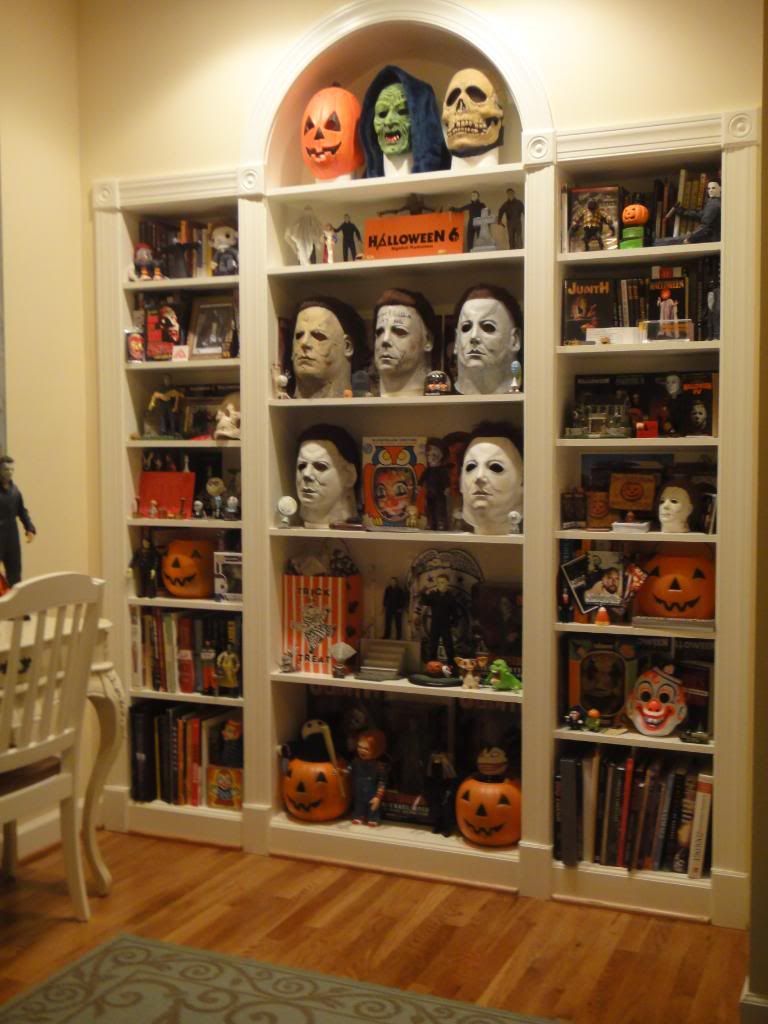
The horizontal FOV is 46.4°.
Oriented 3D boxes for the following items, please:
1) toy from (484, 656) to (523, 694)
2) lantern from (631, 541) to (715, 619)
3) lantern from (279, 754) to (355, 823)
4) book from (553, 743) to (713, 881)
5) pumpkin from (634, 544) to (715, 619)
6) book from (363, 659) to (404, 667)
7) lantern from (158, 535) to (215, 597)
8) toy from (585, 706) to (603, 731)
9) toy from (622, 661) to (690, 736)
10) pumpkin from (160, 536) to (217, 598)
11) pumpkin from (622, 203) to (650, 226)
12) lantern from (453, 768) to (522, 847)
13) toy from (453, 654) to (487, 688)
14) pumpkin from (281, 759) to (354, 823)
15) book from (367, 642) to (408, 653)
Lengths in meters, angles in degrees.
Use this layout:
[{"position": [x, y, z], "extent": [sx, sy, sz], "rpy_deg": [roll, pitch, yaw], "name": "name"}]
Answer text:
[{"position": [0.368, 0.500, 2.761], "extent": [0.096, 0.093, 0.159], "rpy_deg": [0, -1, 2], "name": "toy"}, {"position": [0.819, 0.204, 2.536], "extent": [0.206, 0.186, 0.204], "rpy_deg": [-4, -14, 28], "name": "lantern"}, {"position": [-0.219, 0.915, 3.017], "extent": [0.209, 0.175, 0.208], "rpy_deg": [-2, -9, 23], "name": "lantern"}, {"position": [0.713, 0.862, 2.563], "extent": [0.467, 0.391, 0.325], "rpy_deg": [2, -1, 17], "name": "book"}, {"position": [0.819, 0.201, 2.533], "extent": [0.200, 0.180, 0.198], "rpy_deg": [-3, -12, 27], "name": "pumpkin"}, {"position": [-0.002, 0.493, 2.922], "extent": [0.059, 0.015, 0.052], "rpy_deg": [3, 2, 26], "name": "book"}, {"position": [-0.693, 0.196, 3.176], "extent": [0.205, 0.196, 0.199], "rpy_deg": [1, -2, -20], "name": "lantern"}, {"position": [0.612, 0.607, 2.622], "extent": [0.046, 0.058, 0.064], "rpy_deg": [0, -1, 17], "name": "toy"}, {"position": [0.774, 0.545, 2.568], "extent": [0.164, 0.181, 0.108], "rpy_deg": [0, -2, 14], "name": "toy"}, {"position": [-0.693, 0.197, 3.176], "extent": [0.214, 0.242, 0.185], "rpy_deg": [1, -1, -19], "name": "pumpkin"}, {"position": [0.712, -0.838, 2.524], "extent": [0.082, 0.074, 0.039], "rpy_deg": [0, -2, -11], "name": "pumpkin"}, {"position": [0.315, 0.891, 2.712], "extent": [0.194, 0.176, 0.194], "rpy_deg": [-5, -15, 33], "name": "lantern"}, {"position": [0.274, 0.499, 2.778], "extent": [0.096, 0.092, 0.053], "rpy_deg": [0, -2, -10], "name": "toy"}, {"position": [-0.223, 0.915, 3.013], "extent": [0.208, 0.177, 0.207], "rpy_deg": [-3, -10, 25], "name": "pumpkin"}, {"position": [0.006, 0.447, 2.964], "extent": [0.068, 0.017, 0.060], "rpy_deg": [3, 4, 16], "name": "book"}]
